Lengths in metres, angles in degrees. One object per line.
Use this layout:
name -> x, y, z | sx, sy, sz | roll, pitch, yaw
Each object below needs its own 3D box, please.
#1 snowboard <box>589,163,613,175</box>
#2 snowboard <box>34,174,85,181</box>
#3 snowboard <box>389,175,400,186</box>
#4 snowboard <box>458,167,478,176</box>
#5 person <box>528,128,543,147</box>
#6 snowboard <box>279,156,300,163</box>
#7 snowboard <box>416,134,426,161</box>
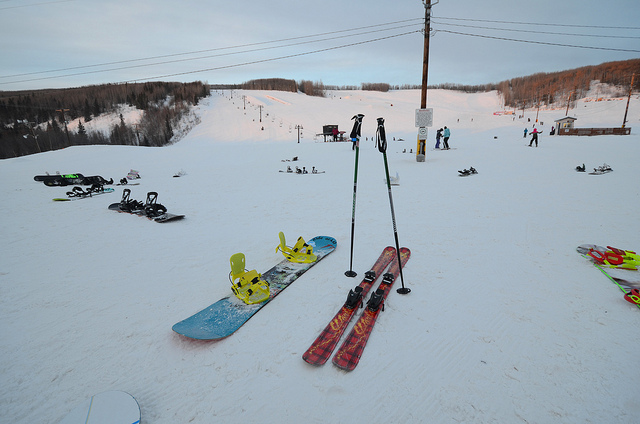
snowboard -> 15.203, -2.333, 20.635 | 1.153, 0.451, 0.340 | -26, 30, -10
snowboard -> -16.049, -2.159, 23.492 | 2.836, 0.361, 0.644 | 4, 24, -16
snowboard -> 4.046, -1.735, 20.821 | 0.587, 0.686, 0.366 | -16, 10, -41
snowboard -> 8.588, -2.355, 22.046 | 0.709, 0.265, 0.482 | -8, 23, -3
person -> 16.020, -5.558, 28.451 | 0.517, 1.246, 2.505 | 7, 19, 28
snowboard -> -2.487, -4.414, 31.275 | 0.561, 0.422, 2.426 | -4, 2, -26
snowboard -> 6.941, -4.283, 26.173 | 0.487, 1.435, 0.430 | 3, 18, 15
